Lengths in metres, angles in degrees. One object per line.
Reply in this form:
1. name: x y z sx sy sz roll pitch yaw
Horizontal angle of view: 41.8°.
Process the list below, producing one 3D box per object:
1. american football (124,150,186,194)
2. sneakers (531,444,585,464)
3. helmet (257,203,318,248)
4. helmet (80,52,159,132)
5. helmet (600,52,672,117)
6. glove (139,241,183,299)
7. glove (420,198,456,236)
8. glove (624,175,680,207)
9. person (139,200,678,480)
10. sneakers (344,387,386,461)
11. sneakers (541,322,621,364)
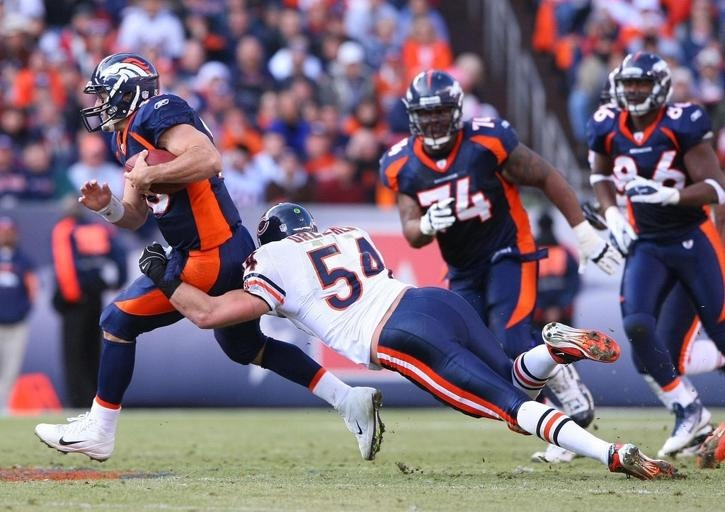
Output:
1. american football: -1.371 -0.561 6.263 0.343 0.215 0.254 6 6 7
2. sneakers: 1.432 1.440 6.961 0.381 0.177 0.128 -3 -1 11
3. helmet: -0.505 -0.213 6.616 0.339 0.327 0.276 -9 -30 24
4. helmet: -1.751 -1.133 6.689 0.575 0.559 0.456 -6 1 -6
5. helmet: 2.049 -1.260 7.038 0.380 0.400 0.487 -6 -3 33
6. glove: -1.357 0.094 6.351 0.252 0.391 0.143 -38 -23 -25
7. glove: 0.485 -0.253 6.445 0.254 0.225 0.396 -5 -11 -4
8. glove: 2.101 -0.469 6.851 0.279 0.204 0.089 -1 -28 14
9. person: 0.231 0.482 5.984 2.972 0.731 1.532 25 9 22
10. sneakers: -0.004 1.103 6.633 0.287 0.601 0.201 -14 8 -6
11. sneakers: 1.351 0.533 5.882 0.471 0.222 0.204 11 24 20
